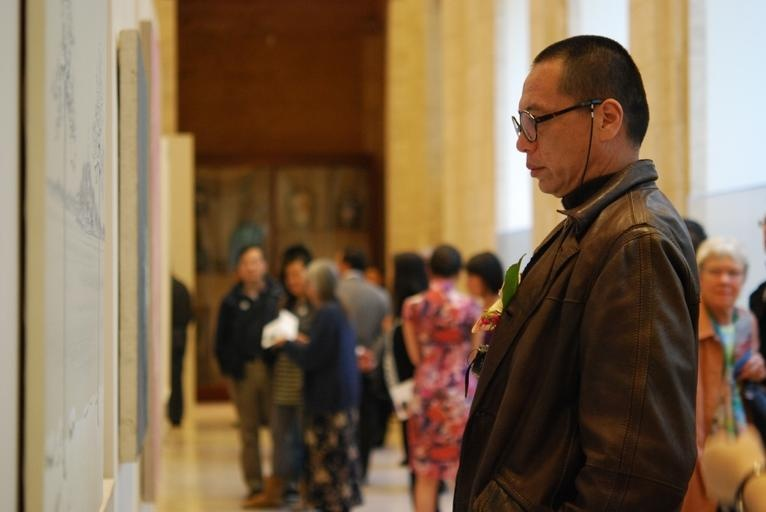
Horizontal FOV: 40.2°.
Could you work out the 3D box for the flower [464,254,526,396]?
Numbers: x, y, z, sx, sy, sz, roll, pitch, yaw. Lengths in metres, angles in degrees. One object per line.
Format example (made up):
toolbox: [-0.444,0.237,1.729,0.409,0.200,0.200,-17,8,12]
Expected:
flower: [0.420,0.272,4.011,0.115,0.679,0.137,24,21,33]

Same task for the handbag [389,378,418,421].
handbag: [0.090,0.688,5.009,0.138,0.182,0.036,-1,-4,-37]
